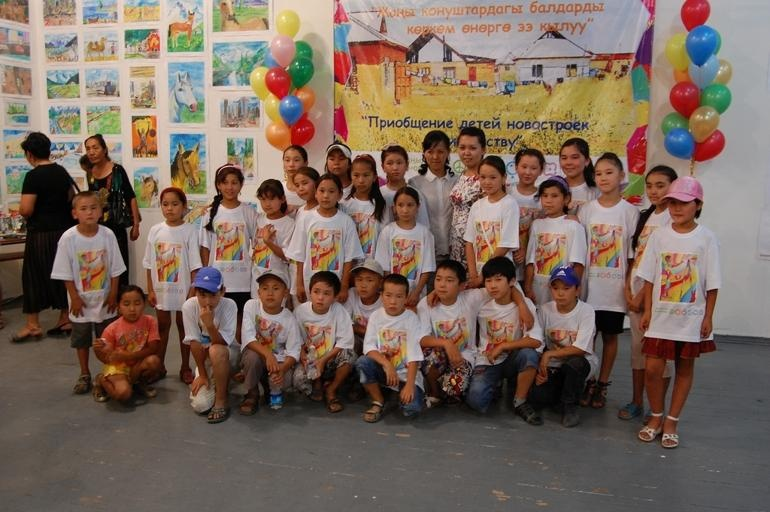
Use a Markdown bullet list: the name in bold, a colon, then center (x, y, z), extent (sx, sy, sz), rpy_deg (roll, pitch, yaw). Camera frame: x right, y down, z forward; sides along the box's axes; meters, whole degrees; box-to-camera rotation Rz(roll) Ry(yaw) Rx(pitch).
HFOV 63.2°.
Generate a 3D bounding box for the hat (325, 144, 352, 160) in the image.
- **hat**: center (-0.332, -0.822, 4.901), extent (0.154, 0.077, 0.211), rpy_deg (1, -23, 7)

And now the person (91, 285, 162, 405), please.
- **person**: center (-1.803, 0.608, 4.402), extent (0.472, 0.765, 0.450), rpy_deg (-4, 9, -37)

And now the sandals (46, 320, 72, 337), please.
- **sandals**: center (-2.877, 0.646, 5.584), extent (0.205, 0.141, 0.113), rpy_deg (3, 2, -2)

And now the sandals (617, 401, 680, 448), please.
- **sandals**: center (1.698, 1.084, 4.032), extent (0.215, 0.140, 0.356), rpy_deg (4, 12, 33)

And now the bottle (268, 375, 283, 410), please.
- **bottle**: center (-0.740, 0.909, 4.292), extent (0.095, 0.250, 0.152), rpy_deg (1, 10, -11)

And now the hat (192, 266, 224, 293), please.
- **hat**: center (-1.178, 0.150, 4.256), extent (0.136, 0.109, 0.186), rpy_deg (5, -3, 0)

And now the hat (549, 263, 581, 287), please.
- **hat**: center (1.239, 0.134, 4.252), extent (0.244, 0.129, 0.148), rpy_deg (-6, 13, -41)

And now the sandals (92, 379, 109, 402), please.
- **sandals**: center (-1.978, 0.949, 4.376), extent (0.065, 0.086, 0.204), rpy_deg (4, -7, -31)

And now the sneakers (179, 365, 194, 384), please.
- **sneakers**: center (-1.460, 0.879, 4.641), extent (0.060, 0.070, 0.172), rpy_deg (-2, -1, -35)

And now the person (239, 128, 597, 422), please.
- **person**: center (0.651, 0.171, 4.374), extent (1.490, 1.709, 0.611), rpy_deg (4, 10, 11)

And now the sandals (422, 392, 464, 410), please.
- **sandals**: center (0.402, 0.998, 4.382), extent (0.305, 0.128, 0.103), rpy_deg (-5, 30, 2)

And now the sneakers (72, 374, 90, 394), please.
- **sneakers**: center (-2.162, 0.908, 4.503), extent (0.119, 0.108, 0.142), rpy_deg (-2, 11, -26)

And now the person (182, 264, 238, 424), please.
- **person**: center (-1.163, 0.572, 4.237), extent (0.375, 0.971, 0.448), rpy_deg (-1, 10, -18)

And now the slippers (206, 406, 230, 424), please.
- **slippers**: center (-1.098, 1.043, 4.158), extent (0.139, 0.079, 0.122), rpy_deg (0, 10, -14)

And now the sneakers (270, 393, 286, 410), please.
- **sneakers**: center (-0.736, 0.995, 4.301), extent (0.066, 0.175, 0.066), rpy_deg (13, 21, 31)

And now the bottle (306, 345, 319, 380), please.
- **bottle**: center (-0.500, 0.738, 4.315), extent (0.099, 0.192, 0.046), rpy_deg (-5, -13, 10)

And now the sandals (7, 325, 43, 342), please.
- **sandals**: center (-3.085, 0.675, 5.402), extent (0.096, 0.106, 0.264), rpy_deg (-22, -22, 16)

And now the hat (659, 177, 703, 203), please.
- **hat**: center (1.876, -0.410, 3.919), extent (0.206, 0.109, 0.150), rpy_deg (-3, 5, -32)

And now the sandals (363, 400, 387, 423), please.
- **sandals**: center (-0.067, 1.023, 4.183), extent (0.145, 0.111, 0.117), rpy_deg (2, 10, -2)

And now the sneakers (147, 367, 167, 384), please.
- **sneakers**: center (-1.671, 0.868, 4.583), extent (0.117, 0.066, 0.160), rpy_deg (-7, 4, 7)

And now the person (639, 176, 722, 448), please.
- **person**: center (1.840, 0.340, 3.949), extent (0.422, 1.649, 0.383), rpy_deg (1, 10, -10)

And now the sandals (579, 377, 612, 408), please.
- **sandals**: center (1.469, 0.954, 4.390), extent (0.109, 0.135, 0.318), rpy_deg (-2, -7, 27)

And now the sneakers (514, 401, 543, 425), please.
- **sneakers**: center (0.956, 1.047, 4.225), extent (0.081, 0.086, 0.220), rpy_deg (-18, 10, -24)

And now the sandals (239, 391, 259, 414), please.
- **sandals**: center (-0.912, 0.984, 4.265), extent (0.144, 0.125, 0.150), rpy_deg (-1, 10, -19)
